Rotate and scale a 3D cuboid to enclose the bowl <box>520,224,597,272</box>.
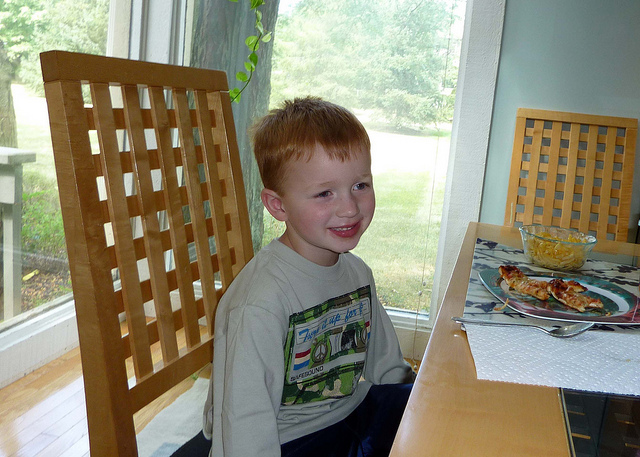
[{"bbox_3d":[0.606,0.045,1.194,0.148,0.069,0.148,2,2,0],"label":"bowl"}]

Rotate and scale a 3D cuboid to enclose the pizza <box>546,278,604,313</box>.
[{"bbox_3d":[0.521,0.142,0.956,0.058,0.019,0.084,-14,33,-34],"label":"pizza"}]
